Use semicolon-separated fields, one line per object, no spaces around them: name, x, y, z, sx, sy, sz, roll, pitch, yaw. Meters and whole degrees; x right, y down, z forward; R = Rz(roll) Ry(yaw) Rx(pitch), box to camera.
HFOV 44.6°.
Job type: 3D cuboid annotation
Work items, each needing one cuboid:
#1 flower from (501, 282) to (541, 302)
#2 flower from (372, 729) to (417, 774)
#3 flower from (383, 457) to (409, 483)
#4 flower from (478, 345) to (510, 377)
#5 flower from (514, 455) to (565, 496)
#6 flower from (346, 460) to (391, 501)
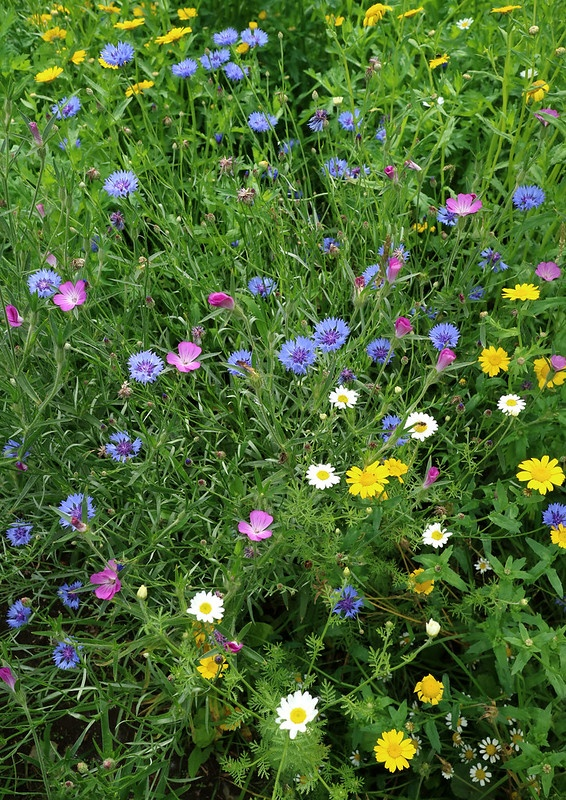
flower;0.678;-0.296;1.989;0.093;0.019;0.090;-35;39;-32
flower;0.236;0.745;1.471;0.076;0.109;0.090;-12;47;-3
flower;0.275;0.166;1.688;0.064;0.024;0.062;-19;53;-21
flower;0.604;-0.114;1.975;0.104;0.023;0.107;2;89;23
flower;0.629;0.171;1.673;0.097;0.076;0.090;33;59;32
flower;0.206;0.196;1.598;0.096;0.026;0.093;-38;54;2
